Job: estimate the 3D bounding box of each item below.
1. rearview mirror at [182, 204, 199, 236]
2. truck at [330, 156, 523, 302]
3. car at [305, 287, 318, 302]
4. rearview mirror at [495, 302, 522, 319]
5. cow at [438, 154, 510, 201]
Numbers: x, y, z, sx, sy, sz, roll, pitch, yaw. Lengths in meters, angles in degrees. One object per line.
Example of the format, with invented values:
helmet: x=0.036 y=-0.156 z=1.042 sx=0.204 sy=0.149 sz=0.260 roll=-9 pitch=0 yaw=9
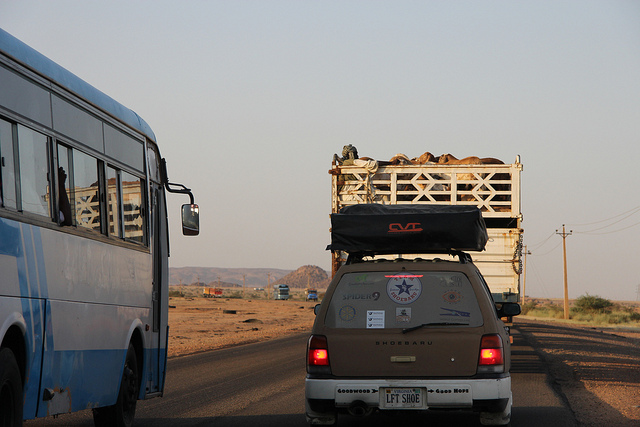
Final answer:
rearview mirror: x=-2.428 y=0.109 z=13.963 sx=0.316 sy=0.632 sz=0.063 roll=2 pitch=18 yaw=-3
truck: x=2.856 y=1.164 z=22.693 sx=5.768 sy=5.347 sz=3.759 roll=-3 pitch=-1 yaw=-14
car: x=-1.344 y=13.606 z=123.440 sx=1.645 sy=1.606 sz=2.533 roll=0 pitch=-9 yaw=-2
rearview mirror: x=3.029 y=1.611 z=11.873 sx=0.452 sy=0.124 sz=0.276 roll=-6 pitch=11 yaw=-5
cow: x=4.917 y=-1.492 z=25.584 sx=1.767 sy=1.217 sz=0.546 roll=6 pitch=6 yaw=32
